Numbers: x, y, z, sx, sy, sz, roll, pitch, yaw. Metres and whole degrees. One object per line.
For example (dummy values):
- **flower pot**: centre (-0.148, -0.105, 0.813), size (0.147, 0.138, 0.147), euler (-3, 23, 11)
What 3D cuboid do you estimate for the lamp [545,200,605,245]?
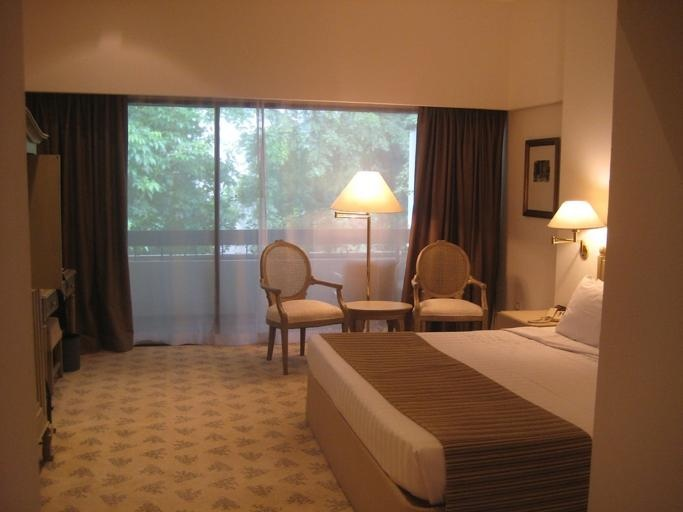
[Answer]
- **lamp**: centre (1.693, -0.217, 3.985), size (0.396, 0.404, 0.401), euler (-1, 13, 36)

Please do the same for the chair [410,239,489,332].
- **chair**: centre (0.955, 0.265, 5.160), size (0.745, 1.219, 0.813), euler (0, 0, -1)
